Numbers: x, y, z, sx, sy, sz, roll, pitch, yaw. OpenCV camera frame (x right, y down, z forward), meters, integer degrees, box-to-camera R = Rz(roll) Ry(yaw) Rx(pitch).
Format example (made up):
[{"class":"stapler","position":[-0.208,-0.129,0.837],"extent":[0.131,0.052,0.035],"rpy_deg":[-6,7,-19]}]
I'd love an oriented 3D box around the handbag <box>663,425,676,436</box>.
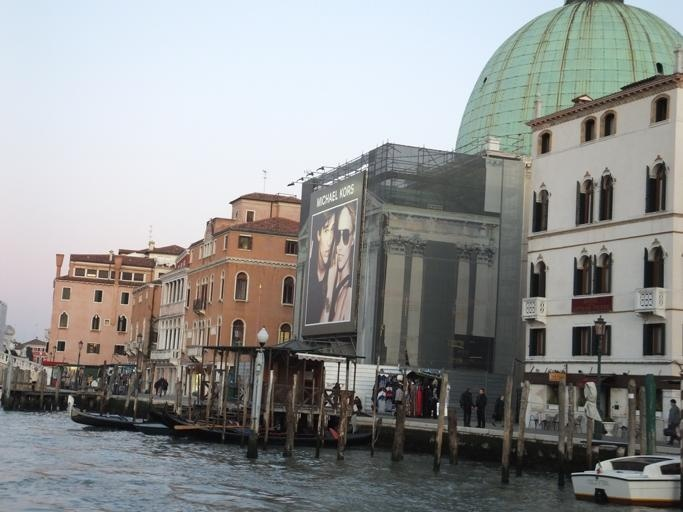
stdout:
[{"class":"handbag","position":[15.498,8.319,41.776],"extent":[0.334,0.458,0.882],"rpy_deg":[5,-13,-11]}]
